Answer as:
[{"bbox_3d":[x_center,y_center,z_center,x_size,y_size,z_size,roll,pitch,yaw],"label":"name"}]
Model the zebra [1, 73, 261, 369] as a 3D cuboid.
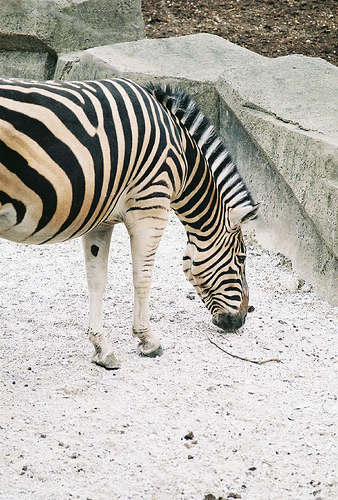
[{"bbox_3d":[-0.167,-0.139,3.830,1.255,1.212,0.408,-11,28,-32],"label":"zebra"}]
